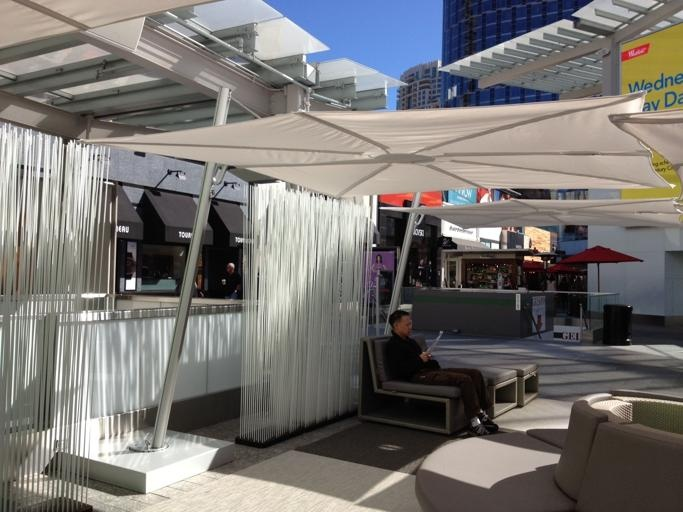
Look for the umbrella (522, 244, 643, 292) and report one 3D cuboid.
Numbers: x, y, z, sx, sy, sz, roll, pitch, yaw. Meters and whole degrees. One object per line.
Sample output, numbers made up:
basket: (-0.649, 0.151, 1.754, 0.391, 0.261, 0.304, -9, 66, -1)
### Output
umbrella: (6.891, 0.054, 15.933, 2.098, 1.217, 2.156, -7, -6, 45)
